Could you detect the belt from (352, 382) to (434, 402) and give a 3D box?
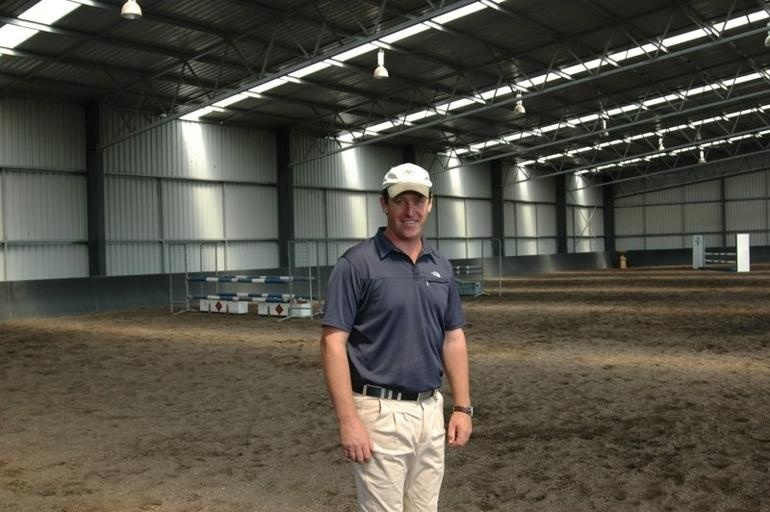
[{"bbox_3d":[0.071,1.048,4.625,0.627,0.131,0.074,-1,0,-9],"label":"belt"}]
